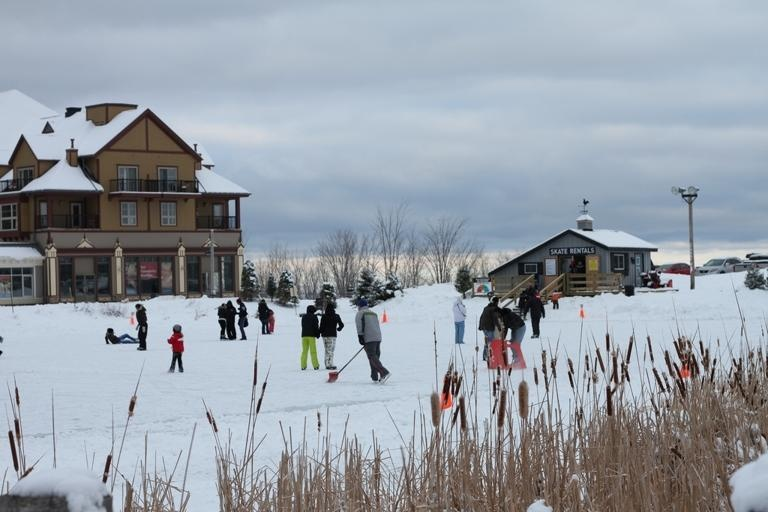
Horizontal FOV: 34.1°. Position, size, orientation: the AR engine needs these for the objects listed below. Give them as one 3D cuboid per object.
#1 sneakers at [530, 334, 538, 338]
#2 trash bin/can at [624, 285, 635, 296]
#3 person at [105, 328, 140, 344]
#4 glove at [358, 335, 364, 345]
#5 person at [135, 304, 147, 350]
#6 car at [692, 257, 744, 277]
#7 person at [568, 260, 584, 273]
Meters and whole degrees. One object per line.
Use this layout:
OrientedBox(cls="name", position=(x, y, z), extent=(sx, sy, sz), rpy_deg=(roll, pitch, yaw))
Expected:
OrientedBox(cls="sneakers", position=(5.451, 2.936, 45.868), extent=(0.146, 0.116, 0.233), rpy_deg=(0, -4, 2))
OrientedBox(cls="trash bin/can", position=(11.996, 1.699, 61.431), extent=(0.498, 0.561, 0.542), rpy_deg=(-3, 6, -26))
OrientedBox(cls="person", position=(-10.168, 3.117, 48.452), extent=(1.222, 0.669, 0.636), rpy_deg=(-3, 7, -8))
OrientedBox(cls="glove", position=(-0.686, 2.553, 37.944), extent=(0.115, 0.346, 0.239), rpy_deg=(1, 3, -10))
OrientedBox(cls="person", position=(-8.874, 2.582, 45.668), extent=(0.386, 1.202, 1.801), rpy_deg=(-6, 3, -12))
OrientedBox(cls="car", position=(18.220, 0.695, 68.125), extent=(0.999, 0.857, 2.097), rpy_deg=(-6, -5, 45))
OrientedBox(cls="person", position=(10.187, 0.550, 66.553), extent=(0.962, 0.945, 0.630), rpy_deg=(0, -2, -6))
